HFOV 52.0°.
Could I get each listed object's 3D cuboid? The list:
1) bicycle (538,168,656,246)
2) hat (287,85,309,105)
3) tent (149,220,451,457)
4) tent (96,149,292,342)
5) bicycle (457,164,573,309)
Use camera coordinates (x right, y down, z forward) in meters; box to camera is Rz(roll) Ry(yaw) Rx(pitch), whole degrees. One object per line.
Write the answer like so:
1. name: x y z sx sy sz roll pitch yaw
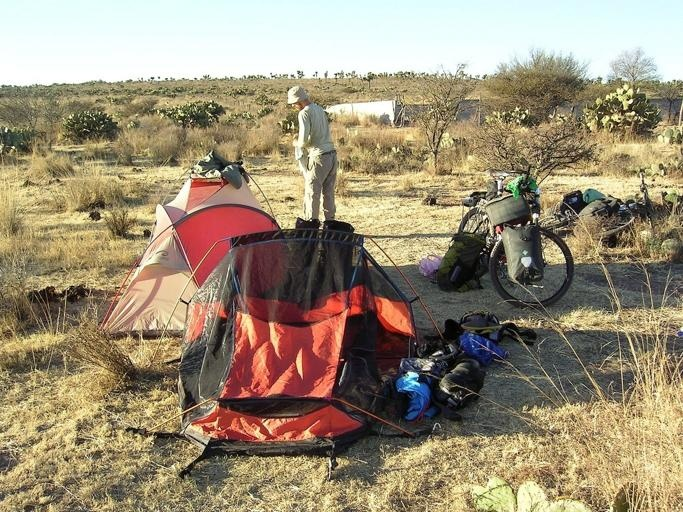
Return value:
1. bicycle: 4.243 -0.759 11.395 1.564 0.742 1.162 -28 23 -30
2. hat: -0.703 -2.562 11.217 0.320 0.293 0.477 -4 16 -1
3. tent: -0.536 0.834 7.586 2.551 1.955 1.521 -6 15 -7
4. tent: -1.893 -0.410 9.727 2.047 1.630 2.557 2 12 -26
5. bicycle: 2.307 -0.308 9.474 1.439 1.712 1.827 -1 16 10
